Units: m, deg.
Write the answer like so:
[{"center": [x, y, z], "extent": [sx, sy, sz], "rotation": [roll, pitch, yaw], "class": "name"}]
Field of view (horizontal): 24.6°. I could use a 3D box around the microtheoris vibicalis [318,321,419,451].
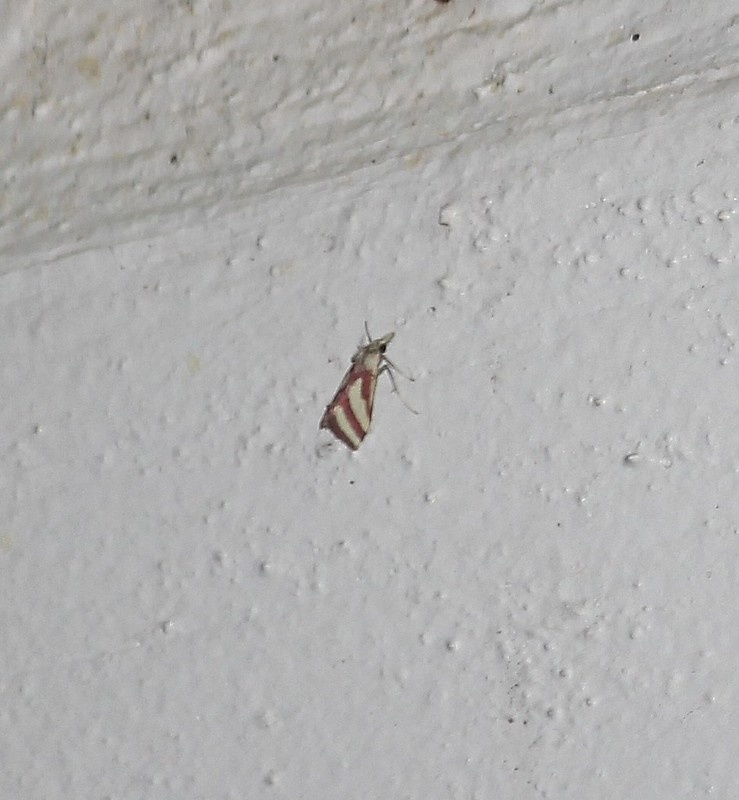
[{"center": [0.007, -0.026, 5.657], "extent": [0.224, 0.039, 0.408], "rotation": [28, 84, 5], "class": "microtheoris vibicalis"}]
